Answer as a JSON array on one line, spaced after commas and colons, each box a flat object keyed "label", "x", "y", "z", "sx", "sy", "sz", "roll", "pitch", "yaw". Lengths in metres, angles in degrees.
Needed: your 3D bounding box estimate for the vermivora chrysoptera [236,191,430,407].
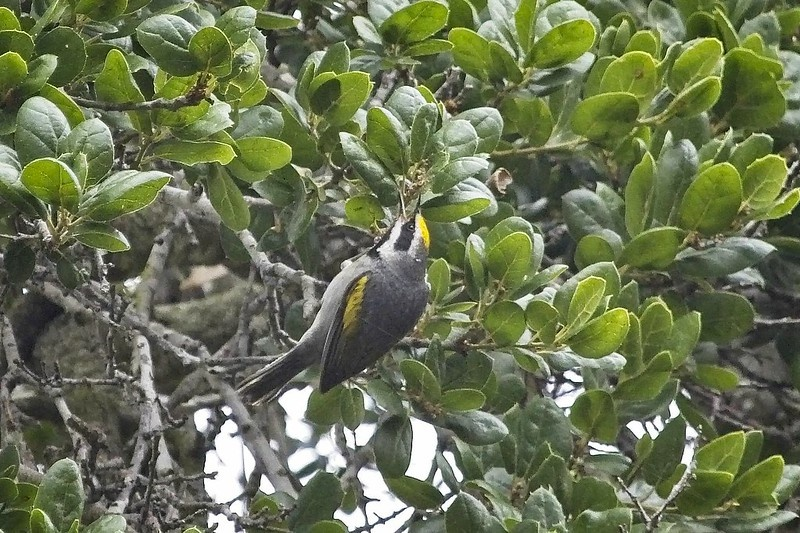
[{"label": "vermivora chrysoptera", "x": -0.186, "y": 0.161, "z": 5.188, "sx": 0.551, "sy": 0.824, "sz": 0.240, "roll": 9, "pitch": 31, "yaw": -30}]
